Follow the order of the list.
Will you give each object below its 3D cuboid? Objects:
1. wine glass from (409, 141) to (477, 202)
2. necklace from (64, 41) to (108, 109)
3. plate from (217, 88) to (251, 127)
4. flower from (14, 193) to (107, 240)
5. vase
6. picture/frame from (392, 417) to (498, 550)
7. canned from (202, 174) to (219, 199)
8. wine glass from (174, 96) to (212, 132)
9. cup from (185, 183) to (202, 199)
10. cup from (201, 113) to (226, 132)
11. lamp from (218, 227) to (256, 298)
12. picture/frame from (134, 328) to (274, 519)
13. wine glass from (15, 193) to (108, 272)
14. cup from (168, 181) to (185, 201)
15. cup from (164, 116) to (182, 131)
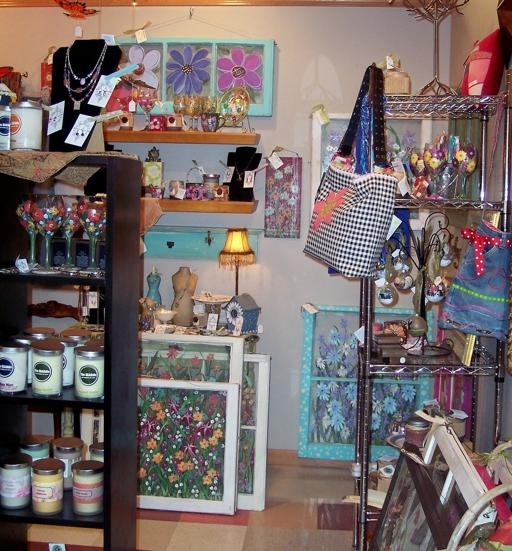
[{"bbox_3d":[0.739,-0.438,2.336,0.228,0.359,0.277,4,17,18],"label":"wine glass"},{"bbox_3d":[-0.615,-0.711,2.091,0.161,0.263,0.185,1,5,2],"label":"necklace"},{"bbox_3d":[-0.133,-0.983,3.387,0.144,0.200,0.165,-4,7,-41],"label":"plate"},{"bbox_3d":[-0.622,-0.197,1.900,0.182,0.154,0.179,5,6,33],"label":"flower"},{"bbox_3d":[-0.739,-0.103,2.300,0.213,0.112,0.236,1,0,-4],"label":"vase"},{"bbox_3d":[0.455,0.505,1.443,0.108,0.282,0.304,-6,43,-4],"label":"picture/frame"},{"bbox_3d":[-0.260,-0.527,3.458,0.089,0.143,0.099,0,5,-8],"label":"canned"},{"bbox_3d":[-0.375,-0.941,3.465,0.220,0.185,0.289,-1,6,-15],"label":"wine glass"},{"bbox_3d":[-0.368,-0.498,3.463,0.131,0.097,0.064,5,7,39],"label":"cup"},{"bbox_3d":[-0.246,-0.898,3.417,0.114,0.104,0.105,2,16,-1],"label":"cup"},{"bbox_3d":[-0.109,-0.090,3.574,0.235,0.405,0.263,0,5,-4],"label":"lamp"},{"bbox_3d":[-0.284,0.774,3.149,0.697,0.916,0.241,1,5,4],"label":"picture/frame"},{"bbox_3d":[-0.651,-0.181,2.024,0.269,0.287,0.349,1,9,-2],"label":"wine glass"},{"bbox_3d":[-0.463,-0.497,3.558,0.084,0.127,0.118,-2,-21,8],"label":"cup"},{"bbox_3d":[-0.470,-0.864,3.349,0.073,0.098,0.082,0,-3,2],"label":"cup"}]
